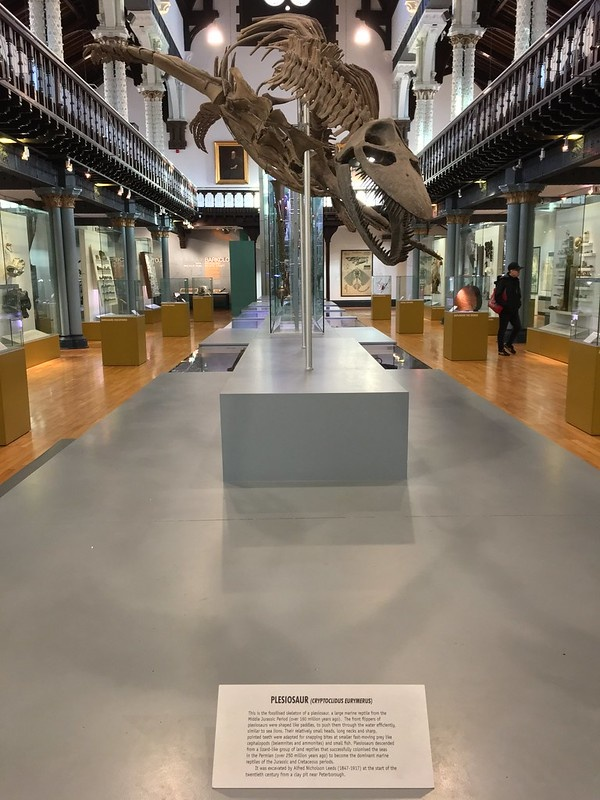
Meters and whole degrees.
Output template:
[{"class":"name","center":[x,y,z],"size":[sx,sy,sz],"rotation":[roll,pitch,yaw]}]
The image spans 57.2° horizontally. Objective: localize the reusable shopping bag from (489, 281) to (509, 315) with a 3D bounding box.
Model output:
[{"class":"reusable shopping bag","center":[3.227,-1.645,8.904],"size":[0.245,0.467,0.508],"rotation":[2,10,20]}]

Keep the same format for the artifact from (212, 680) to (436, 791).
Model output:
[{"class":"artifact","center":[0.046,0.669,1.143],"size":[0.338,0.152,0.078],"rotation":[1,-21,1]}]

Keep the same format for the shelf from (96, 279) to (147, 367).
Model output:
[{"class":"shelf","center":[-2.754,-0.957,8.538],"size":[0.670,0.824,0.524],"rotation":[-5,10,-21]}]
